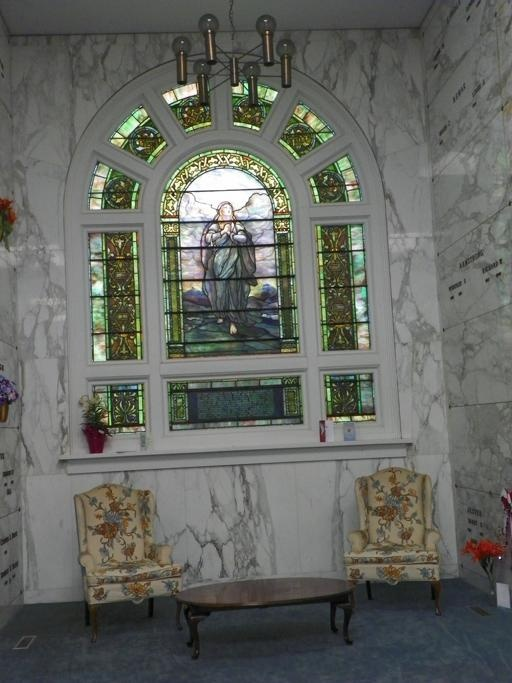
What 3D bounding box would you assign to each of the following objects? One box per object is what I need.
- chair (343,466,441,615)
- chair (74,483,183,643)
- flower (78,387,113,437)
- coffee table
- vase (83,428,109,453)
[{"bbox_3d":[1.038,1.444,4.648,0.652,0.950,0.763,-6,-11,18],"label":"chair"},{"bbox_3d":[-0.984,1.559,4.561,0.704,0.935,0.711,4,-12,-32],"label":"chair"},{"bbox_3d":[-1.485,0.653,5.715,0.360,0.506,0.332,-3,-28,-6],"label":"flower"},{"bbox_3d":[0.071,1.683,3.830,1.108,0.315,0.827,-2,-12,-7],"label":"coffee table"},{"bbox_3d":[-1.409,0.920,5.718,0.258,0.252,0.247,1,-11,-1],"label":"vase"}]
